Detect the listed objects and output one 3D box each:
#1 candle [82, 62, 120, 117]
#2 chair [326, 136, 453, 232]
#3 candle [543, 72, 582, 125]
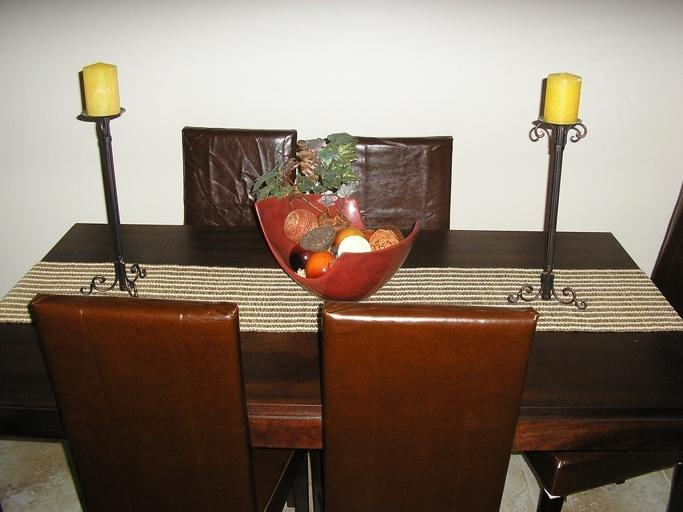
[{"bbox_3d":[-0.546,-0.370,1.333,0.076,0.116,0.067,-9,22,-24],"label":"candle"},{"bbox_3d":[0.195,-0.228,1.862,0.297,0.276,0.176,7,21,17],"label":"chair"},{"bbox_3d":[0.497,-0.358,1.338,0.103,0.104,0.103,-14,24,-29],"label":"candle"}]
